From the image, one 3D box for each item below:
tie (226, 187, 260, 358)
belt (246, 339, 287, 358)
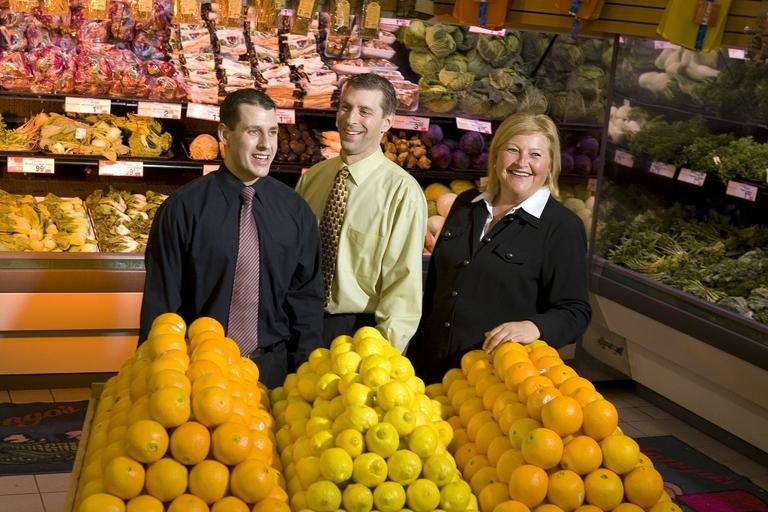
[{"bbox_3d":[-0.636,0.102,2.100,0.059,0.805,0.174,10,8,38],"label":"tie"},{"bbox_3d":[-0.548,0.430,2.176,0.103,0.032,0.079,-3,5,-44],"label":"belt"}]
